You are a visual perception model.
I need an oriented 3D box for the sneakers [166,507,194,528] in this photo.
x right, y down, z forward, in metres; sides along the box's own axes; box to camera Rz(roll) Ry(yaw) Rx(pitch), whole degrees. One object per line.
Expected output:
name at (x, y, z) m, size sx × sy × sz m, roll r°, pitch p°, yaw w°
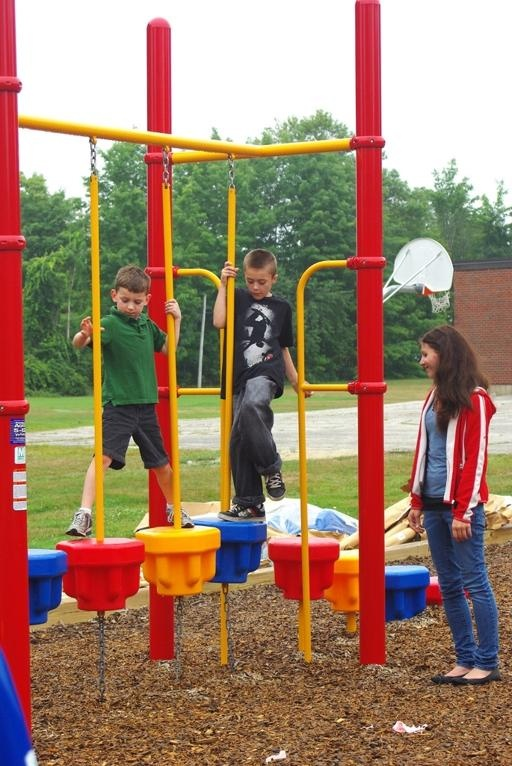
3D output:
sneakers at (-0.324, 0.564, 5.236) m, size 0.064 × 0.069 × 0.182 m, roll 0°, pitch -4°, yaw -23°

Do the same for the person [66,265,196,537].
person at (-0.543, 0.088, 5.384) m, size 0.513 × 1.193 × 0.791 m, roll -1°, pitch 2°, yaw -7°

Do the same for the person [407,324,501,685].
person at (0.833, 0.499, 5.233) m, size 0.340 × 1.462 × 0.460 m, roll -1°, pitch 3°, yaw -8°

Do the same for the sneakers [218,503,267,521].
sneakers at (-0.054, 0.558, 5.401) m, size 0.216 × 0.084 × 0.070 m, roll 4°, pitch -8°, yaw -12°

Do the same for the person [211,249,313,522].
person at (0.012, 0.019, 5.420) m, size 0.312 × 1.152 × 0.448 m, roll 0°, pitch 2°, yaw 3°

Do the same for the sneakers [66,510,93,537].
sneakers at (-0.729, 0.580, 5.144) m, size 0.061 × 0.071 × 0.165 m, roll 9°, pitch -9°, yaw 8°

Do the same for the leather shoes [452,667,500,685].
leather shoes at (0.881, 1.189, 5.112) m, size 0.187 × 0.061 × 0.065 m, roll 3°, pitch -17°, yaw -5°

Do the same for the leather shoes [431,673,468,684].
leather shoes at (0.779, 1.199, 5.108) m, size 0.127 × 0.032 × 0.044 m, roll 6°, pitch -14°, yaw -22°
